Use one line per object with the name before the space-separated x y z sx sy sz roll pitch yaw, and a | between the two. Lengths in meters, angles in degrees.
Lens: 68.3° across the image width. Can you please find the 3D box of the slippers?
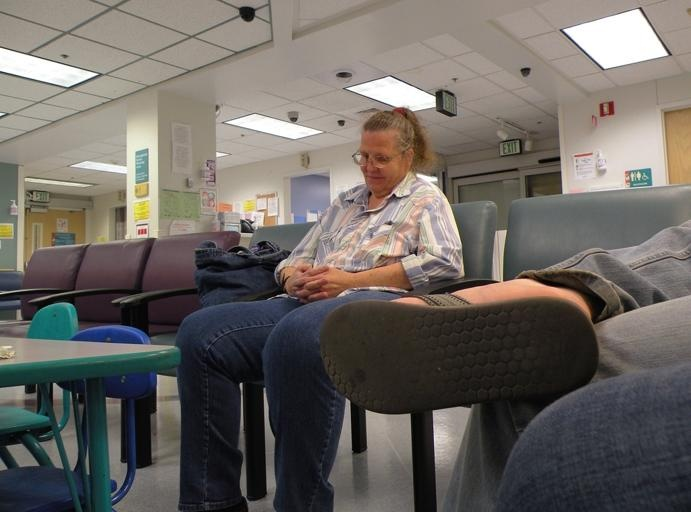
slippers | 0.154 0.119 0.744 0.347 0.147 0.132 4 3 9

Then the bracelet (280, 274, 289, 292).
bracelet | -0.209 0.096 1.749 0.022 0.061 0.044 3 -9 -10

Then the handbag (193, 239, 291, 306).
handbag | -0.376 0.044 1.878 0.301 0.143 0.235 -2 2 -33
